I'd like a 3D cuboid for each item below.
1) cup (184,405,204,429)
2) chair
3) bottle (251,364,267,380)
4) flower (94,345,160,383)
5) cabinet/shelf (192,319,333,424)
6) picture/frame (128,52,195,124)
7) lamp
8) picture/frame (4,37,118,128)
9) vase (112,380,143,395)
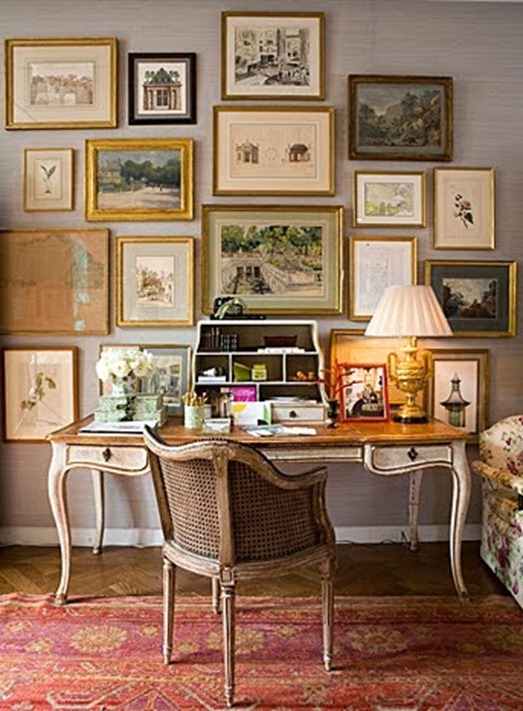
[{"bbox_3d":[-0.335,0.313,3.718,0.109,0.103,0.094,1,-1,1],"label":"cup"},{"bbox_3d":[-0.073,0.811,2.949,0.756,1.063,0.405,-1,12,-5],"label":"chair"},{"bbox_3d":[-0.019,0.104,3.958,0.073,0.074,0.143,-1,12,-4],"label":"bottle"},{"bbox_3d":[-0.697,0.054,3.816,0.209,0.151,0.226,5,13,24],"label":"flower"},{"bbox_3d":[-0.004,0.069,3.982,0.705,0.493,0.637,1,12,4],"label":"cabinet/shelf"},{"bbox_3d":[-0.549,-1.525,4.176,0.412,0.398,0.035,0,1,-1],"label":"picture/frame"},{"bbox_3d":[0.777,-0.023,3.995,0.432,0.724,0.521,3,12,13],"label":"lamp"},{"bbox_3d":[-1.103,-1.559,4.195,0.532,0.411,0.044,0,0,-1],"label":"picture/frame"},{"bbox_3d":[-0.698,0.163,3.829,0.105,0.077,0.107,1,1,-24],"label":"vase"}]
